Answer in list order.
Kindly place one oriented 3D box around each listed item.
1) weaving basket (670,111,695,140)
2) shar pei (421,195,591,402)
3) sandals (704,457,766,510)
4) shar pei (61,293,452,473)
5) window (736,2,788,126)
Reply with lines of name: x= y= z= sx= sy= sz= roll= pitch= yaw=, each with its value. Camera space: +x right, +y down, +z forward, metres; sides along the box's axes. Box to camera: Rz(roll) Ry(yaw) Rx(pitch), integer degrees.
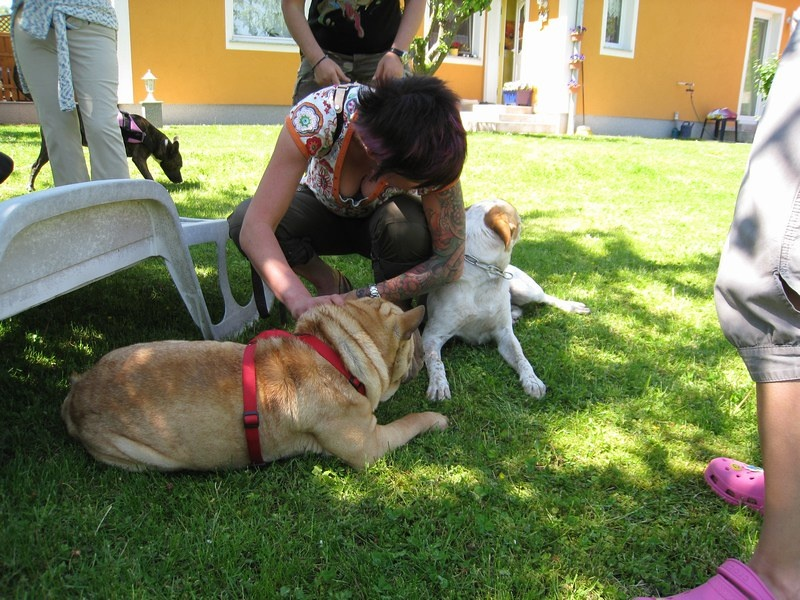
weaving basket: x=8.009 y=-4.952 z=17.184 sx=0.582 sy=0.658 sz=0.387 roll=-13 pitch=25 yaw=-31
shar pei: x=0.491 y=0.028 z=3.530 sx=0.710 sy=0.652 sz=1.143 roll=6 pitch=53 yaw=20
sandals: x=1.390 y=0.752 z=2.560 sx=0.194 sy=0.093 sz=0.295 roll=4 pitch=17 yaw=-4
shar pei: x=-0.648 y=0.345 z=2.812 sx=1.565 sy=0.786 sz=0.731 roll=-3 pitch=29 yaw=-15
window: x=11.207 y=-7.415 z=18.880 sx=0.914 sy=3.233 sz=2.314 roll=13 pitch=25 yaw=30
